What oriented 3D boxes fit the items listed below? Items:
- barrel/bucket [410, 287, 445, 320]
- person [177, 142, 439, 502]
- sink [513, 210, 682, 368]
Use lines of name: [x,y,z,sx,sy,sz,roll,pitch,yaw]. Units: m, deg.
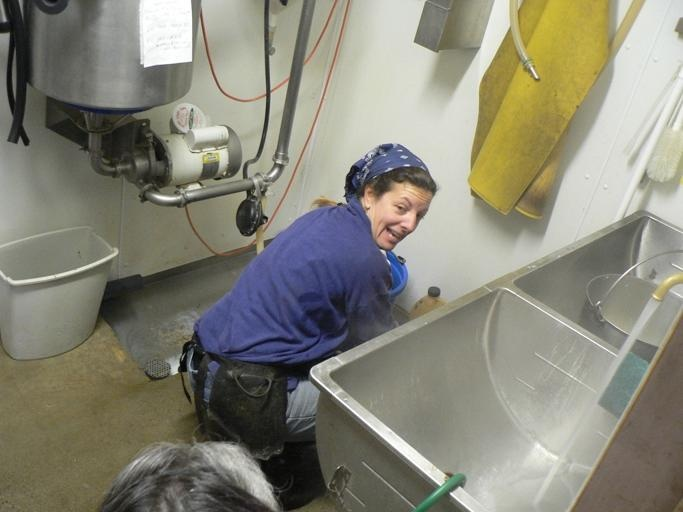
barrel/bucket: [0.411,0.219,2.547,0.107,0.169,0.116,10,24,-5]
person: [-0.040,0.383,2.126,0.960,1.618,0.608,-3,21,-34]
sink: [0.964,0.266,2.132,0.675,0.149,0.440,-29,49,-33]
